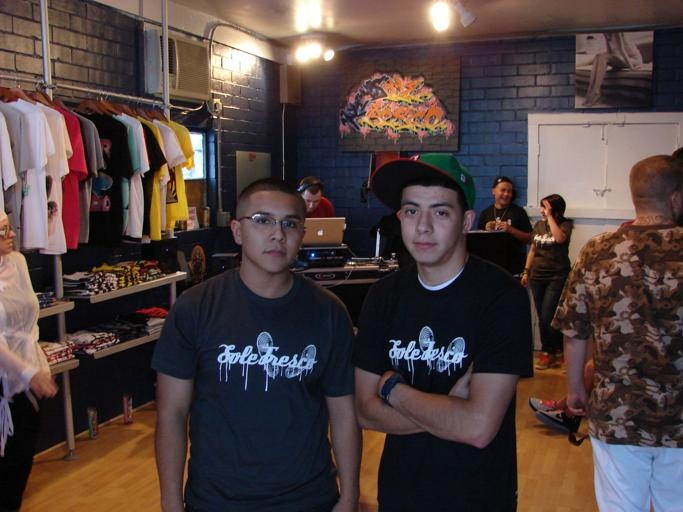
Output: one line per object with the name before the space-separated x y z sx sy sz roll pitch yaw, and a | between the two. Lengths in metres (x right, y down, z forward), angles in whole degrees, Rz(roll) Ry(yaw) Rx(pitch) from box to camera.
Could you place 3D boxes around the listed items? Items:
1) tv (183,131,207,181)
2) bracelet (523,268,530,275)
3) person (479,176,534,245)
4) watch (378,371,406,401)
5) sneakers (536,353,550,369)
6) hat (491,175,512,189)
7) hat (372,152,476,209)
tv | -1.707 -1.185 6.327 0.308 0.747 0.063 -1 41 -16
bracelet | 2.116 0.185 6.217 0.048 0.067 0.068 7 -31 -15
person | 1.939 -0.409 6.565 0.655 1.078 0.618 1 0 28
watch | 0.171 0.449 1.924 0.051 0.098 0.073 38 9 11
sneakers | 2.264 1.195 6.093 0.110 0.136 0.313 -2 -8 24
hat | 1.972 -0.898 6.686 0.214 0.153 0.219 2 5 22
hat | 0.310 -0.284 1.992 0.335 0.225 0.459 1 17 -5
